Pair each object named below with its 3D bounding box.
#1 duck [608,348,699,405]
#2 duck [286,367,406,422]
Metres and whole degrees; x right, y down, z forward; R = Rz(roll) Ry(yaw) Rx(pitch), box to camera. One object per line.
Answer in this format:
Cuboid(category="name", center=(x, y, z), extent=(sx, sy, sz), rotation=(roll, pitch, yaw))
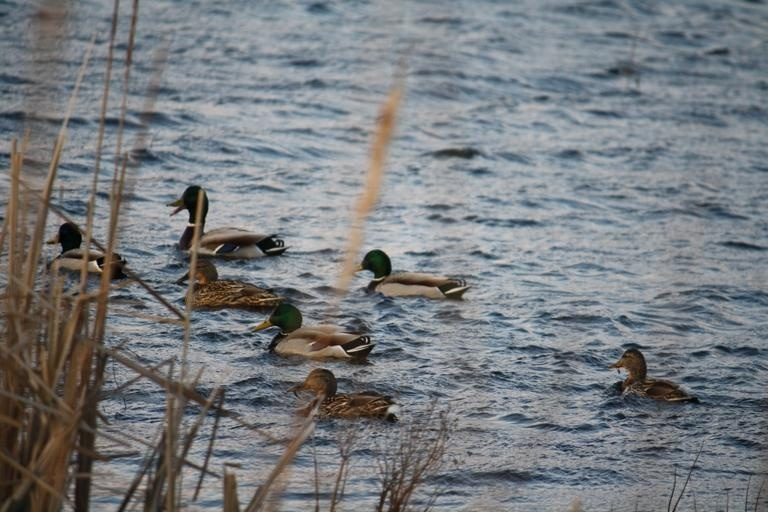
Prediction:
Cuboid(category="duck", center=(4.619, 2.105, 23.735), extent=(1.326, 1.012, 0.747), rotation=(7, -47, 2))
Cuboid(category="duck", center=(-0.616, 2.313, 22.710), extent=(2.377, 0.725, 0.663), rotation=(8, -2, 14))
